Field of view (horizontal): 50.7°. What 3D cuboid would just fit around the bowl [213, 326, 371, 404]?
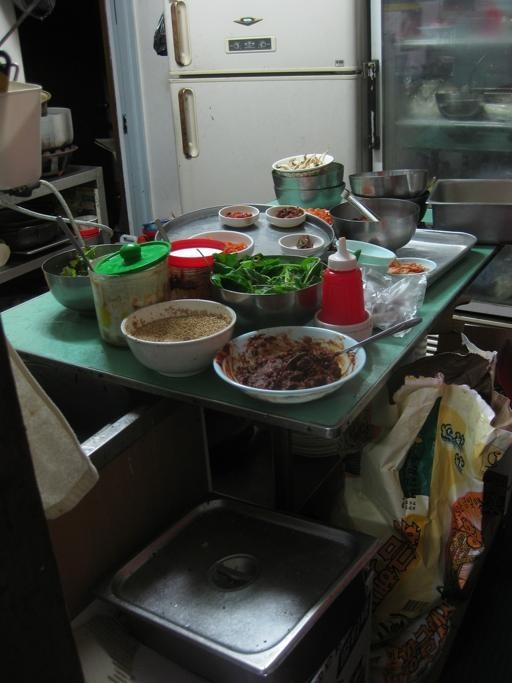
[{"bbox_3d":[0.050,0.039,0.829,0.222,0.065,0.202,-5,22,2],"label":"bowl"}]

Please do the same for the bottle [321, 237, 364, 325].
[{"bbox_3d":[0.167,-0.096,0.952,0.071,0.157,0.069,-13,25,6],"label":"bottle"}]

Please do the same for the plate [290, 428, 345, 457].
[{"bbox_3d":[0.123,0.201,1.157,0.113,0.054,0.153,0,3,13],"label":"plate"}]

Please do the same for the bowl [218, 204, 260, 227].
[{"bbox_3d":[-0.062,-0.365,1.572,0.092,0.032,0.092,-1,27,0],"label":"bowl"}]

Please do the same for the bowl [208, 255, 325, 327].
[{"bbox_3d":[0.024,-0.094,1.051,0.218,0.105,0.215,0,32,0],"label":"bowl"}]

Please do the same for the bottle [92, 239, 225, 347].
[{"bbox_3d":[-0.177,-0.102,1.027,0.178,0.184,0.173,0,26,5],"label":"bottle"}]

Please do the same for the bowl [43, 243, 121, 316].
[{"bbox_3d":[-0.370,-0.131,1.142,0.163,0.094,0.159,-1,28,0],"label":"bowl"}]

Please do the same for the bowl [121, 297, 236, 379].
[{"bbox_3d":[-0.125,-0.002,0.899,0.173,0.073,0.167,-4,25,2],"label":"bowl"}]
